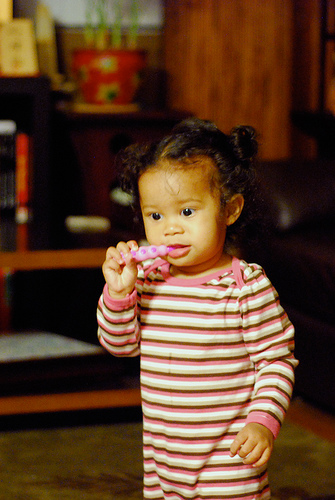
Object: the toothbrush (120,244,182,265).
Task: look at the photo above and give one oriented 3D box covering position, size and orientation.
[{"bbox_3d":[-0.015,0.004,0.495,0.059,0.011,0.011,-9,53,29],"label":"toothbrush"}]
